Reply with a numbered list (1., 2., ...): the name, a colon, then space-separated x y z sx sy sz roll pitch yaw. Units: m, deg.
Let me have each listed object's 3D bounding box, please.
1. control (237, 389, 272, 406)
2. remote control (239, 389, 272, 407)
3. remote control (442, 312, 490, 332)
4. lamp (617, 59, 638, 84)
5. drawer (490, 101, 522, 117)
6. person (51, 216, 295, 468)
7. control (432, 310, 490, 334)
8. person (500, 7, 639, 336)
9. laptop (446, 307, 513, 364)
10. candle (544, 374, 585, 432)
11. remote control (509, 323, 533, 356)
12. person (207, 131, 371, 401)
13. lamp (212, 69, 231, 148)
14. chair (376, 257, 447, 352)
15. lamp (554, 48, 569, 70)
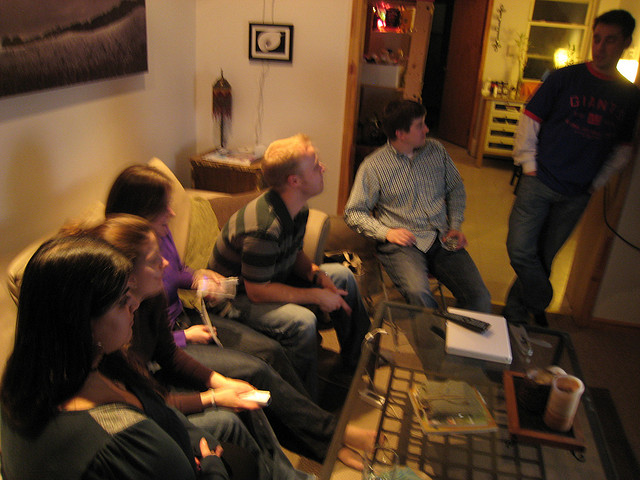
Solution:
1. control: -0.235 0.583 1.860 0.096 0.039 0.057 5 25 12
2. remote control: -0.245 0.605 1.899 0.101 0.034 0.058 6 27 20
3. remote control: 0.666 0.361 2.285 0.137 0.036 0.079 23 23 23
4. lamp: 1.867 -1.038 3.060 0.103 0.130 0.173 19 27 35
5. drawer: 2.237 -1.595 6.054 0.351 0.159 0.058 10 22 15
6. person: -0.558 0.565 1.915 0.737 1.384 0.450 -5 28 -24
7. control: 0.643 0.366 2.286 0.245 0.071 0.078 13 37 35
8. person: 1.582 -0.402 3.186 0.656 1.948 0.317 4 21 2
9. laptop: 0.709 0.430 2.277 0.277 0.061 0.314 8 29 9
10. candle: 0.887 0.595 1.836 0.097 0.191 0.091 18 25 33
11. remote control: 0.924 0.454 2.299 0.095 0.023 0.102 27 43 -47
12. person: -0.138 0.159 2.652 0.854 1.407 0.718 10 24 21
13. lamp: -0.735 -0.988 3.765 0.137 0.551 0.115 -1 21 -10
14. chair: 0.477 0.327 2.631 0.204 0.311 0.163 -20 39 8
15. lamp: 2.916 -2.210 6.069 0.176 0.211 0.302 12 24 22
